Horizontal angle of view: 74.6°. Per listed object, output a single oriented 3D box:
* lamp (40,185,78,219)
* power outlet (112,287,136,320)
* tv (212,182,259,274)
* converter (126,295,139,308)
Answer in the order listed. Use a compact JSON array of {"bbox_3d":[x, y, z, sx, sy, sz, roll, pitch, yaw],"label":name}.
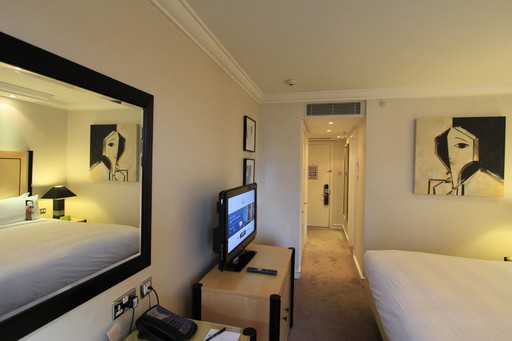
[{"bbox_3d":[-1.206,0.179,2.056,0.180,0.263,0.172,2,3,41],"label":"lamp"},{"bbox_3d":[-0.944,0.946,2.379,0.026,0.174,0.267,3,5,19],"label":"power outlet"},{"bbox_3d":[-0.216,0.578,3.282,0.197,0.702,0.797,0,5,13],"label":"tv"},{"bbox_3d":[-0.889,0.951,2.410,0.083,0.108,0.073,1,3,-9],"label":"converter"}]
